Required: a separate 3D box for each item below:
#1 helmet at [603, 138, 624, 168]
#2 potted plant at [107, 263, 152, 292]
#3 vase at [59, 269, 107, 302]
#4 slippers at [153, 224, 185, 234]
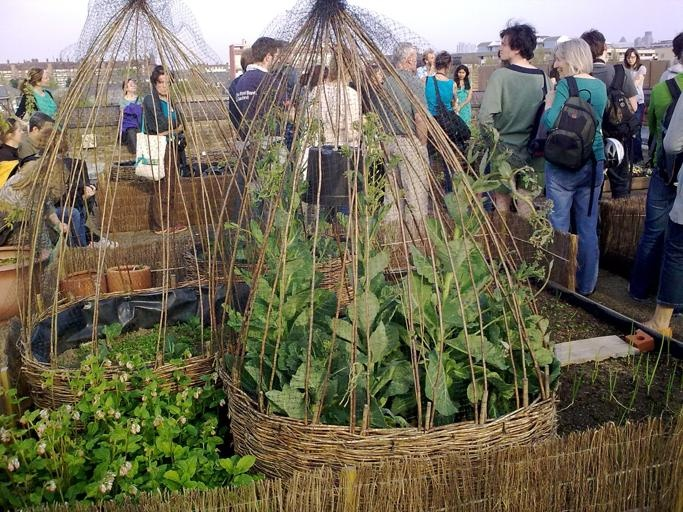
[{"bbox_3d":[2.318,-0.885,4.373,0.134,0.242,0.247,3,7,28],"label":"helmet"},{"bbox_3d":[-1.796,0.193,4.310,0.358,0.203,0.289,-1,7,-10],"label":"potted plant"},{"bbox_3d":[-1.981,0.242,3.910,0.263,0.190,0.270,-5,6,-32],"label":"vase"},{"bbox_3d":[-1.868,-0.275,5.505,0.233,0.084,0.094,-3,8,-2],"label":"slippers"}]
